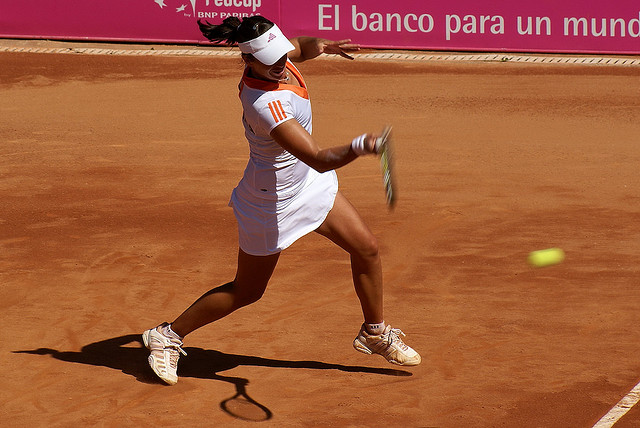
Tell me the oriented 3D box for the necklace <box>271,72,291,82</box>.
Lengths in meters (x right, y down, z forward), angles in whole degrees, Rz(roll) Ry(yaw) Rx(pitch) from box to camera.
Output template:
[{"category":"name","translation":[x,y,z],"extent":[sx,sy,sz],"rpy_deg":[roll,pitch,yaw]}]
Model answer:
[{"category":"necklace","translation":[-0.336,-1.161,6.913],"extent":[0.155,0.030,0.143],"rpy_deg":[4,20,29]}]

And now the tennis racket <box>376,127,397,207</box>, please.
[{"category":"tennis racket","translation":[0.547,-0.378,6.573],"extent":[0.142,0.656,0.214],"rpy_deg":[-1,18,7]}]

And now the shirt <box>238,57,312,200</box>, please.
[{"category":"shirt","translation":[-0.326,-0.665,7.339],"extent":[0.782,0.953,1.047],"rpy_deg":[3,23,-2]}]
